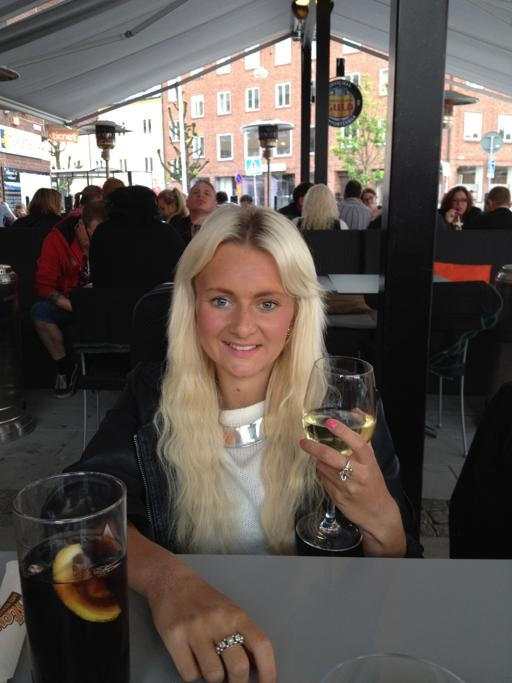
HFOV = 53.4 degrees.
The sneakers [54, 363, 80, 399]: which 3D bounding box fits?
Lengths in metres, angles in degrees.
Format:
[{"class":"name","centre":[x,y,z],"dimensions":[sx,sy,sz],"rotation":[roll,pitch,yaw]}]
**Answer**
[{"class":"sneakers","centre":[-1.512,0.317,4.088],"dimensions":[0.129,0.309,0.125],"rotation":[-1,-15,18]}]

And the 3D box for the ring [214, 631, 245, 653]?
[{"class":"ring","centre":[-0.031,0.360,0.608],"dimensions":[0.025,0.010,0.021],"rotation":[-23,20,-30]}]

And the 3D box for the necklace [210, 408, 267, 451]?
[{"class":"necklace","centre":[-0.031,0.207,1.227],"dimensions":[0.101,0.071,0.098],"rotation":[-7,-7,-11]}]

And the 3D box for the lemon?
[{"class":"lemon","centre":[-0.152,0.218,0.453],"dimensions":[0.050,0.074,0.026],"rotation":[-7,14,-24]}]

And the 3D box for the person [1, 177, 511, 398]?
[{"class":"person","centre":[-0.034,-0.300,2.812],"dimensions":[2.469,1.308,0.713],"rotation":[0,8,1]}]

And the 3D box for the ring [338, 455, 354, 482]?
[{"class":"ring","centre":[0.144,0.203,0.811],"dimensions":[0.020,0.037,0.024],"rotation":[-4,-10,11]}]
